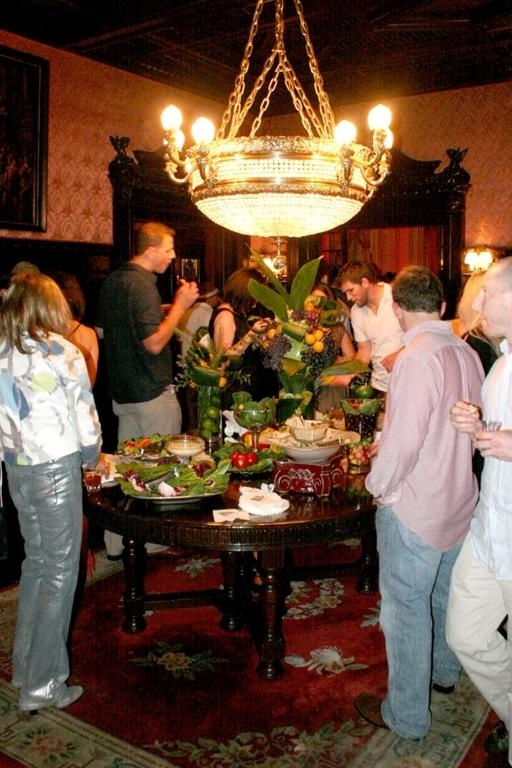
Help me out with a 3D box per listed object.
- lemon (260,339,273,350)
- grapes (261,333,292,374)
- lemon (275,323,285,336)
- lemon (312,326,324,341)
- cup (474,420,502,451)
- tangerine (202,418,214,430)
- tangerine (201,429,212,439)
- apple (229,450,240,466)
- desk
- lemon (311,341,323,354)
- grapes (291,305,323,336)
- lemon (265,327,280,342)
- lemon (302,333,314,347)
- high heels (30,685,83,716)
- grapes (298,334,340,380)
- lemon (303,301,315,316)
[{"bbox_3d":[0.051,-0.161,2.524,0.038,0.036,0.048,2,18,0],"label":"lemon"},{"bbox_3d":[0.083,-0.124,2.492,0.112,0.142,0.078,10,22,21],"label":"grapes"},{"bbox_3d":[0.096,-0.222,2.492,0.043,0.047,0.042,-1,1,6],"label":"lemon"},{"bbox_3d":[0.251,-0.200,2.419,0.048,0.054,0.046,-3,-1,12],"label":"lemon"},{"bbox_3d":[0.570,0.126,1.499,0.067,0.069,0.067,2,-11,0],"label":"cup"},{"bbox_3d":[-0.209,0.178,2.693,0.040,0.044,0.040,1,0,-4],"label":"tangerine"},{"bbox_3d":[-0.217,0.225,2.699,0.036,0.035,0.046,3,-24,4],"label":"tangerine"},{"bbox_3d":[-0.079,0.287,2.301,0.048,0.047,0.046,-1,-3,-8],"label":"apple"},{"bbox_3d":[-0.049,0.725,2.465,1.188,0.514,1.135,0,-3,-1],"label":"desk"},{"bbox_3d":[0.246,-0.141,2.413,0.042,0.047,0.042,14,12,21],"label":"lemon"},{"bbox_3d":[0.210,-0.245,2.515,0.123,0.105,0.065,41,-17,7],"label":"grapes"},{"bbox_3d":[0.069,-0.202,2.497,0.047,0.044,0.058,16,9,2],"label":"lemon"},{"bbox_3d":[0.214,-0.172,2.425,0.044,0.049,0.044,-7,-14,36],"label":"lemon"},{"bbox_3d":[-0.707,1.104,2.183,0.063,0.075,0.182,8,1,20],"label":"high heels"},{"bbox_3d":[0.262,-0.106,2.475,0.140,0.176,0.057,44,-20,-30],"label":"grapes"},{"bbox_3d":[0.216,-0.309,2.505,0.054,0.065,0.021,1,-22,15],"label":"lemon"}]
